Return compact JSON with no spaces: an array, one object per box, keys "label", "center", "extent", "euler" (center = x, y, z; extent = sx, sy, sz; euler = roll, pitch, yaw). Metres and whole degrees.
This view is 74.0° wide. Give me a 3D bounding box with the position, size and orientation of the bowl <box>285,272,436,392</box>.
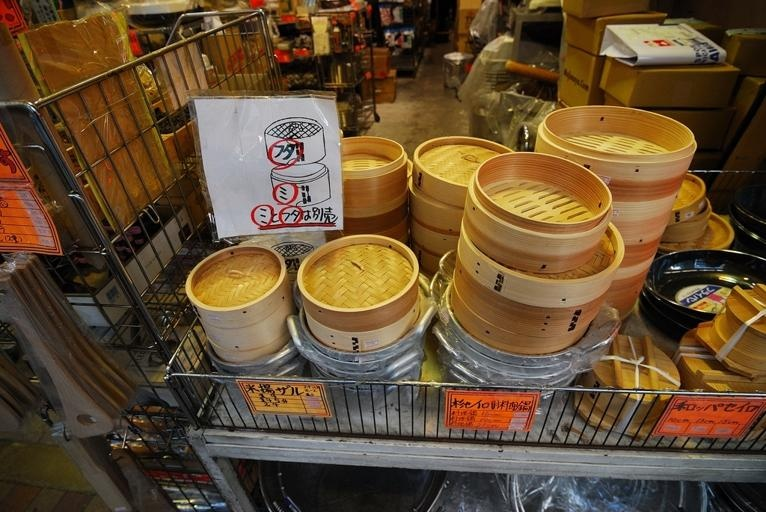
[{"label":"bowl","center":[-0.081,0.230,1.765],"extent":[0.374,0.276,0.366],"euler":[-2,44,2]}]
